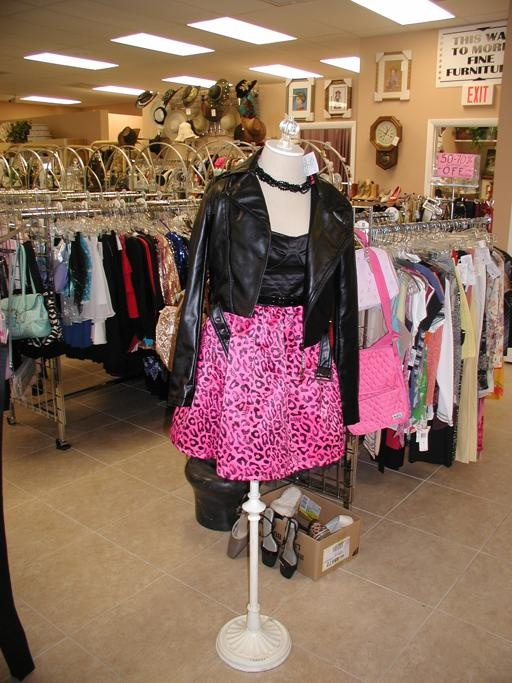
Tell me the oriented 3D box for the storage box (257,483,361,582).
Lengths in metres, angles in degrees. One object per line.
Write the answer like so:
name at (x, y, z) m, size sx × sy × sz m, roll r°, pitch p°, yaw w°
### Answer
storage box at (0.237, 0.766, 2.052) m, size 0.344 × 0.209 × 0.388 m, roll -6°, pitch 11°, yaw -39°

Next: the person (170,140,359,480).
person at (0.048, -0.080, 1.250) m, size 0.522 × 0.818 × 0.236 m, roll -1°, pitch 8°, yaw -11°

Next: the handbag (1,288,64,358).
handbag at (-1.023, -0.097, 2.267) m, size 0.289 × 0.277 × 0.141 m, roll 16°, pitch 22°, yaw 40°

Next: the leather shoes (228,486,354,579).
leather shoes at (0.158, 0.746, 1.993) m, size 0.282 × 0.132 × 0.370 m, roll -10°, pitch 13°, yaw -33°

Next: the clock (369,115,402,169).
clock at (1.708, -2.575, 6.465) m, size 0.407 × 0.633 × 0.213 m, roll 3°, pitch 9°, yaw 19°

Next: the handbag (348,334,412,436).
handbag at (0.476, 0.160, 1.915) m, size 0.265 × 0.353 × 0.106 m, roll -15°, pitch -3°, yaw 3°
